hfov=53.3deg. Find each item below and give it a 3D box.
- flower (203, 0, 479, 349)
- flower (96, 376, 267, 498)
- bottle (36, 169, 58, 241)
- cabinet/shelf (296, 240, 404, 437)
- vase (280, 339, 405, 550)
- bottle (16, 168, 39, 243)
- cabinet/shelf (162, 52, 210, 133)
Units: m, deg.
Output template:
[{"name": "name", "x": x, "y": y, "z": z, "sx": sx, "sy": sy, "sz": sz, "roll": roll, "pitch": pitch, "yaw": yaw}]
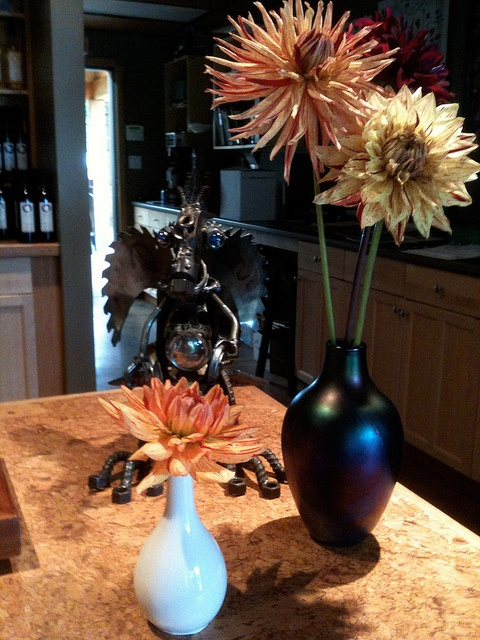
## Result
[{"name": "flower", "x": 0.164, "y": -0.128, "z": 0.573, "sx": 0.302, "sy": 0.384, "sz": 0.233, "roll": 3, "pitch": -3, "yaw": -30}, {"name": "flower", "x": -0.049, "y": 0.097, "z": 0.426, "sx": 0.135, "sy": 0.080, "sz": 0.137, "roll": -2, "pitch": 8, "yaw": -21}, {"name": "bottle", "x": -0.960, "y": -0.556, "z": 2.361, "sx": 0.073, "sy": 0.335, "sz": 0.145, "roll": -3, "pitch": 8, "yaw": -26}, {"name": "cabinet/shelf", "x": 0.537, "y": 0.031, "z": 3.318, "sx": 0.399, "sy": 1.152, "sz": 1.217, "roll": -6, "pitch": 18, "yaw": -25}, {"name": "vase", "x": 0.120, "y": 0.163, "z": 0.575, "sx": 0.142, "sy": 0.272, "sz": 0.082, "roll": 3, "pitch": 8, "yaw": 18}, {"name": "bottle", "x": -1.085, "y": -0.576, "z": 2.420, "sx": 0.097, "sy": 0.358, "sz": 0.277, "roll": -3, "pitch": 8, "yaw": -24}, {"name": "cabinet/shelf", "x": -0.639, "y": -2.750, "z": 5.929, "sx": 0.465, "sy": 1.028, "sz": 1.137, "roll": -2, "pitch": 8, "yaw": -17}]
